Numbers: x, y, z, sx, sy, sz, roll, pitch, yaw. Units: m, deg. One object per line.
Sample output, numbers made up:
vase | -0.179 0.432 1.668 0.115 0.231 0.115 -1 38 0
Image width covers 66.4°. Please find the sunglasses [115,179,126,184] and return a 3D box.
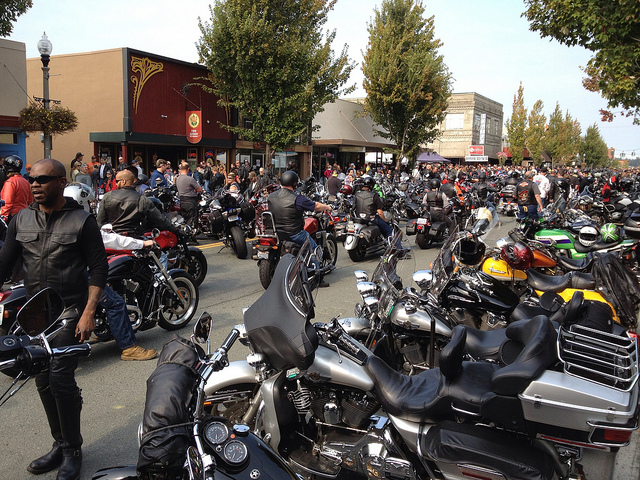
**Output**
sunglasses | -2.832 -0.847 6.949 0.083 0.060 0.280 -3 13 -38

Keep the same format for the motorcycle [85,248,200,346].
motorcycle | -2.226 0.649 6.725 0.847 1.135 1.884 13 21 43

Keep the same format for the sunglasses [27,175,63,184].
sunglasses | -2.347 -0.518 4.150 0.285 0.084 0.113 4 9 -1

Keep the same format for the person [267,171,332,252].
person | -0.427 -0.275 9.280 0.930 2.165 0.983 6 23 26

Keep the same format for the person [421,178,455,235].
person | 3.263 -0.957 13.648 0.706 1.607 1.545 1 32 32

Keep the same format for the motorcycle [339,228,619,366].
motorcycle | 1.319 0.819 4.456 2.188 1.489 1.494 2 4 5

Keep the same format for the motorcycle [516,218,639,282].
motorcycle | 4.706 0.062 8.830 1.819 1.269 1.206 17 13 22

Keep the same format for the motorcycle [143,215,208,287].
motorcycle | -2.264 0.259 8.266 0.642 0.814 1.161 4 9 38

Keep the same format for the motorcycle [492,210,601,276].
motorcycle | 3.509 0.075 7.371 1.634 1.136 0.918 2 11 0

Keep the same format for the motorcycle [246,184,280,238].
motorcycle | -1.547 -0.762 13.074 0.945 1.266 2.030 -7 1 -12

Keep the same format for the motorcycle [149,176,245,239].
motorcycle | -3.343 -0.624 12.753 2.308 1.653 1.506 9 11 11

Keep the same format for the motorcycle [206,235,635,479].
motorcycle | 0.967 0.995 4.239 2.826 1.801 1.101 10 24 24

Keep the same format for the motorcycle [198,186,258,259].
motorcycle | -2.320 -0.445 12.834 1.161 1.646 3.065 -16 10 -11

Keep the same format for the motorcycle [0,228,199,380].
motorcycle | -2.662 0.741 6.252 2.215 1.354 1.088 -16 18 -43

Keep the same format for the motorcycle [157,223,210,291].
motorcycle | -2.264 0.299 8.212 1.159 0.828 0.661 -13 14 -38
